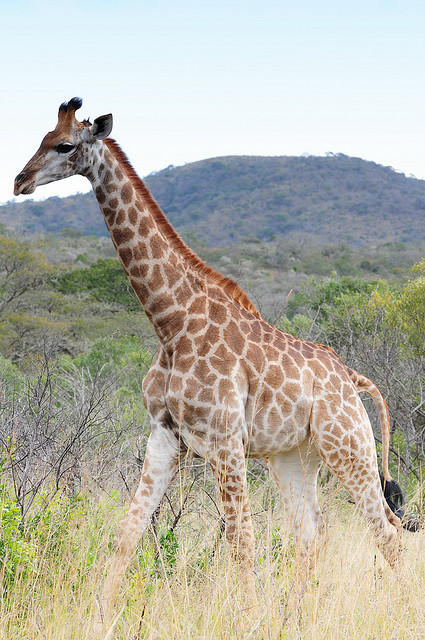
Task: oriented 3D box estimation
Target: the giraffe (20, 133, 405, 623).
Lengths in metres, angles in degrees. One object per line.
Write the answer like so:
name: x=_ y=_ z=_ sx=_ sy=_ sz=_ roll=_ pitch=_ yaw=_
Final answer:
giraffe: x=0.134 y=0.387 z=4.043 sx=3.073 sy=2.876 sz=0.900 roll=9 pitch=-12 yaw=-20
